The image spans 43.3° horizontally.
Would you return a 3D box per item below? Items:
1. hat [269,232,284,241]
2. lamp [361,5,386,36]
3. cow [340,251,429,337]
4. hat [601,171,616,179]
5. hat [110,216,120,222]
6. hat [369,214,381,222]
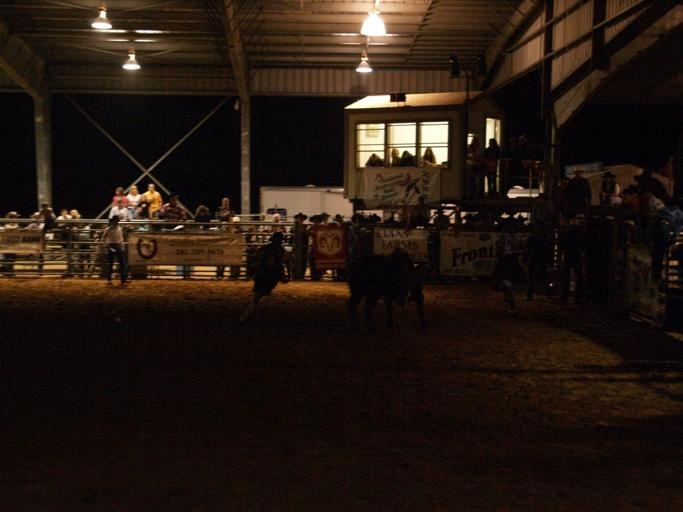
[{"bbox_3d":[-1.192,-0.371,15.908,0.215,0.213,0.444,1,11,1],"label":"hat"},{"bbox_3d":[0.834,-6.281,22.918,0.542,0.714,1.443,1,11,1],"label":"lamp"},{"bbox_3d":[0.804,0.607,15.291,1.327,1.387,0.505,0,11,-2],"label":"cow"},{"bbox_3d":[7.829,-2.380,25.157,0.393,0.162,0.444,-1,-4,10],"label":"hat"},{"bbox_3d":[-5.583,-0.901,21.120,0.177,0.175,0.338,-5,12,-23],"label":"hat"},{"bbox_3d":[0.938,-1.011,23.212,0.352,0.311,0.174,1,14,-9],"label":"hat"}]
